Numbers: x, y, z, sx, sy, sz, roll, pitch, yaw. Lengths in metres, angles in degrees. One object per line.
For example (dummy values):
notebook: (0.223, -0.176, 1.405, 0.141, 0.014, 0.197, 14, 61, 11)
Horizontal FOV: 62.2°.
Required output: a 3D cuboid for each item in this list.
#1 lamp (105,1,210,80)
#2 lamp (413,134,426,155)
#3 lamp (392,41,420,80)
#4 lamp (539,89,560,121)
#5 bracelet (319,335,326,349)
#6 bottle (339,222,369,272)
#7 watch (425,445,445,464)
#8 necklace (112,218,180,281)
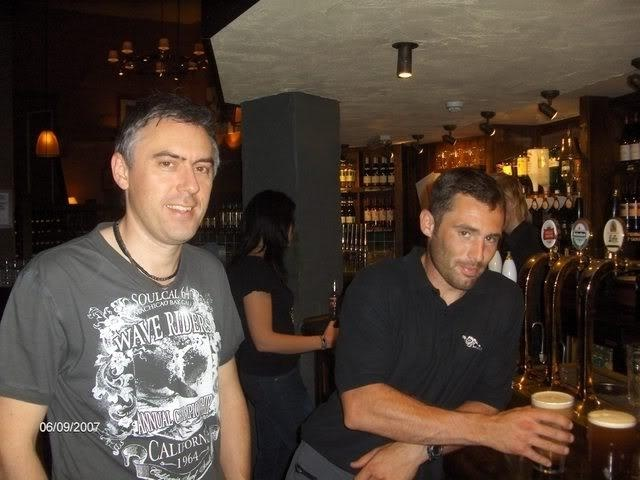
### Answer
lamp: (-2.582, -3.106, 8.900, 1.652, 0.649, 1.724, 11, 16, 38)
lamp: (1.339, -1.302, 7.142, 0.218, 0.273, 0.225, -1, -10, -1)
lamp: (0.516, -1.101, 3.234, 0.171, 0.182, 0.168, -6, 8, -44)
lamp: (1.967, -1.165, 4.553, 0.162, 0.222, 0.190, 0, 4, 22)
bracelet: (0.023, 0.570, 2.916, 0.052, 0.056, 0.035, 2, -3, 8)
bottle: (0.432, 0.098, 6.642, 0.368, 0.557, 0.209, 1, -8, 6)
watch: (0.383, 0.707, 1.761, 0.050, 0.048, 0.063, 2, -14, -10)
necklace: (-0.552, 0.048, 1.592, 0.013, 0.191, 0.156, -22, -5, 34)
